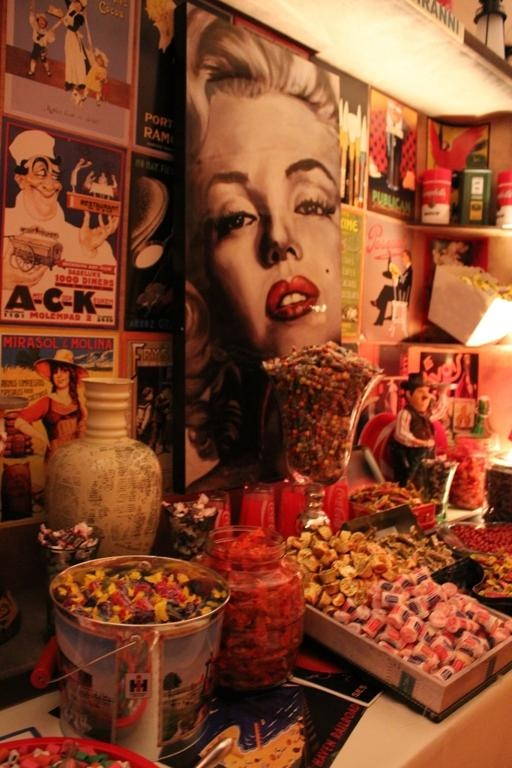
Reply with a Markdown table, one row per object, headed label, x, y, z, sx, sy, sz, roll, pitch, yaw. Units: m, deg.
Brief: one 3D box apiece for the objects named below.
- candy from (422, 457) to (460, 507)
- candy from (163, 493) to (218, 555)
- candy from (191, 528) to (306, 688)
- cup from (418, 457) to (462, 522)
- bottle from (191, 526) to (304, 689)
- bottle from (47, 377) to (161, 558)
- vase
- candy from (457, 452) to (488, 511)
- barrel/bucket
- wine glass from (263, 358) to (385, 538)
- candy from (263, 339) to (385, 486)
| label | x | y | z | sx | sy | sz | roll | pitch | yaw |
| --- | --- | --- | --- | --- | --- | --- | --- | --- | --- |
| candy | 0.545 | 0.282 | 1.645 | 0.080 | 0.136 | 0.221 | 4 | 3 | 35 |
| candy | -0.096 | 0.222 | 0.962 | 0.088 | 0.102 | 0.090 | 1 | -1 | -45 |
| candy | -0.007 | 0.310 | 0.816 | 0.152 | 0.170 | 0.171 | 0 | -4 | -1 |
| cup | 0.504 | 0.278 | 1.625 | 0.100 | 0.169 | 0.106 | 3 | 17 | -1 |
| bottle | -0.016 | 0.305 | 0.811 | 0.155 | 0.185 | 0.181 | -1 | 5 | -12 |
| bottle | -0.221 | 0.117 | 0.833 | 0.145 | 0.250 | 0.150 | 3 | 5 | 0 |
| vase | -0.211 | 0.121 | 0.799 | 0.161 | 0.251 | 0.097 | 1 | 2 | -21 |
| candy | 0.641 | 0.292 | 1.700 | 0.085 | 0.117 | 0.050 | 3 | 2 | 17 |
| barrel/bucket | -0.126 | 0.309 | 0.645 | 0.189 | 0.183 | 0.167 | 0 | 3 | -38 |
| wine glass | 0.132 | 0.128 | 1.175 | 0.237 | 0.414 | 0.253 | 5 | -8 | -20 |
| candy | 0.131 | 0.041 | 1.247 | 0.255 | 0.309 | 0.268 | 7 | 8 | -1 |
